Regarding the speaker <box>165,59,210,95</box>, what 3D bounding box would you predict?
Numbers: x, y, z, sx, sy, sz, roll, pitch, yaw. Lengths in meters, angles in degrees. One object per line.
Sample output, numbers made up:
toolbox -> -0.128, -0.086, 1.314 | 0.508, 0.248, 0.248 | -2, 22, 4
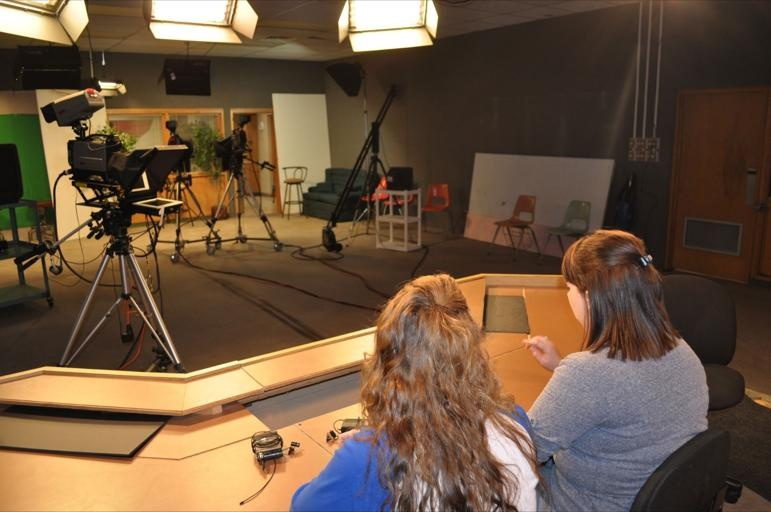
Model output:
speaker -> -3.404, -3.078, 9.548 | 0.765, 0.571, 0.427 | -1, 12, -13

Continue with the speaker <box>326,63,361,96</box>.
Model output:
speaker -> -0.754, -3.435, 10.804 | 0.659, 0.600, 0.402 | 1, 12, -5

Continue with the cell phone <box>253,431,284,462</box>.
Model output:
cell phone -> -0.514, 0.835, 2.442 | 0.141, 0.090, 0.136 | 0, 12, -12

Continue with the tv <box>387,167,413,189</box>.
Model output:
tv -> 0.277, -1.211, 8.591 | 0.435, 0.425, 0.320 | 4, 17, 16

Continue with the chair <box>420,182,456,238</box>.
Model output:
chair -> 0.948, -0.805, 9.561 | 0.554, 0.860, 0.990 | 3, 12, 5

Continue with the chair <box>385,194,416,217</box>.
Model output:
chair -> 0.290, -0.898, 9.766 | 0.445, 0.670, 0.494 | 0, -2, 7

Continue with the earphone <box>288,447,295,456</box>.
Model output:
earphone -> -0.408, 0.864, 2.448 | 0.018, 0.033, 0.023 | -5, -25, 22
